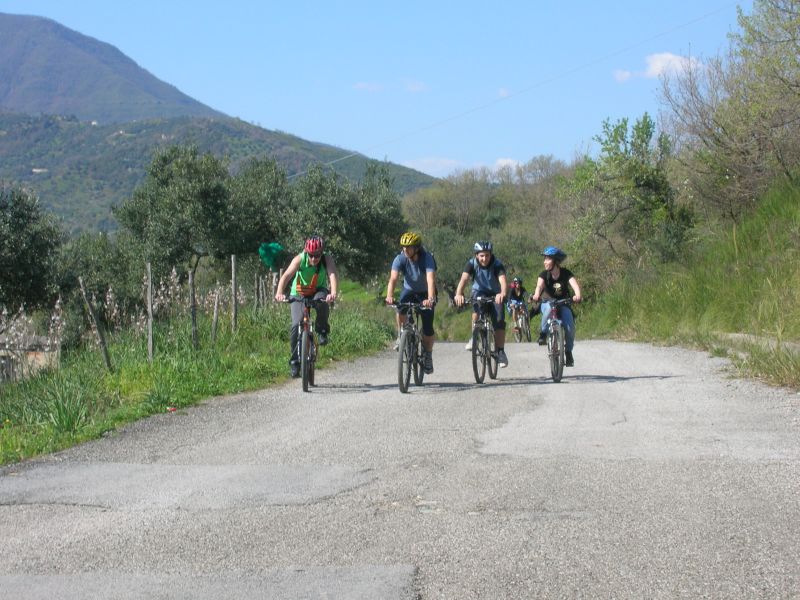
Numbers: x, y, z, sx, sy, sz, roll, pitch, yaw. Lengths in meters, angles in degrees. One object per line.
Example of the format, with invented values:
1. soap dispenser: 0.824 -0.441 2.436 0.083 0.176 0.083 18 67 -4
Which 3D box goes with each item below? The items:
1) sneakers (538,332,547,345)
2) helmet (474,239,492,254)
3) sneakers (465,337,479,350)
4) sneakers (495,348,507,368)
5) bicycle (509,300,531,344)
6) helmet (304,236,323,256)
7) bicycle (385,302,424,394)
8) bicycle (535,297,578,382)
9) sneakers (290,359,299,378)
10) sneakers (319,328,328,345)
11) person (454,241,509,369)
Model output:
1. sneakers: 2.358 0.650 15.449 0.151 0.324 0.161 0 -13 0
2. helmet: 1.324 -0.828 14.982 0.265 0.225 0.328 -1 12 0
3. sneakers: 1.162 0.726 15.167 0.129 0.217 0.439 1 -1 -5
4. sneakers: 1.691 0.946 15.484 0.107 0.162 0.363 -6 19 3
5. bicycle: 3.598 0.621 27.582 0.592 0.982 1.375 -8 1 -3
6. helmet: -1.387 -0.862 14.844 0.290 0.357 0.570 -2 13 -7
7. bicycle: 0.126 0.732 14.735 0.404 1.532 1.161 3 12 20
8. bicycle: 2.595 0.660 15.248 0.356 1.276 0.599 -1 10 -1
9. sneakers: -1.667 1.056 14.750 0.148 0.294 0.218 -2 11 -5
10. sneakers: -1.250 0.615 15.073 0.106 0.260 0.097 2 21 2
11. person: 1.387 0.039 15.183 0.609 2.025 1.174 -2 14 14
